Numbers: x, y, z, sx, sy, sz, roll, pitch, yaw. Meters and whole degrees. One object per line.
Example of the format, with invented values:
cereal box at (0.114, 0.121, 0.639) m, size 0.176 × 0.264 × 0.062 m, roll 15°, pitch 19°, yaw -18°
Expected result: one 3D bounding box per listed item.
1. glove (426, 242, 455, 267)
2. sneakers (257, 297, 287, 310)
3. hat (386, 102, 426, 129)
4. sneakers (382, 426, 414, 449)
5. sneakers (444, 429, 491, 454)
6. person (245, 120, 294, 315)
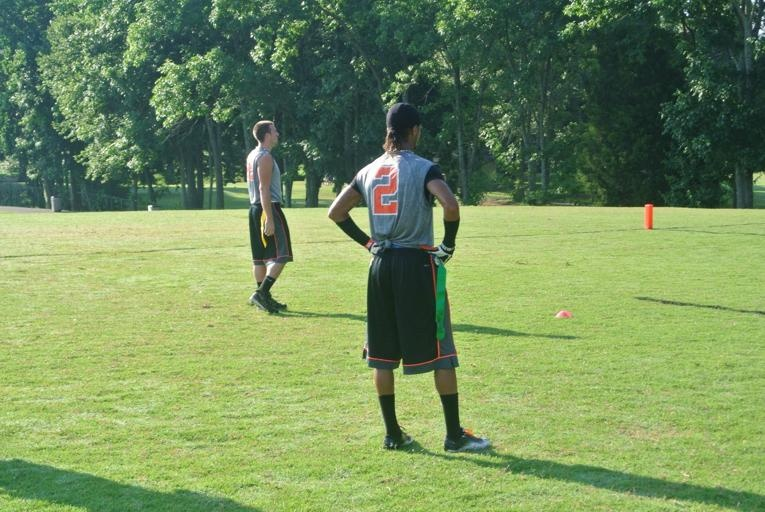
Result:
glove at (0.772, 0.006, 12.863) m, size 0.230 × 0.212 × 0.357 m, roll 5°, pitch -23°, yaw -1°
sneakers at (-1.869, 0.827, 16.745) m, size 0.411 × 0.248 × 0.127 m, roll 3°, pitch 35°, yaw -20°
hat at (0.307, -1.896, 12.886) m, size 0.325 × 0.350 × 0.417 m, roll 6°, pitch 16°, yaw 24°
sneakers at (0.218, 2.411, 12.748) m, size 0.447 × 0.269 × 0.197 m, roll -3°, pitch 4°, yaw -30°
sneakers at (1.115, 2.453, 12.700) m, size 0.597 × 0.241 × 0.268 m, roll -2°, pitch -4°, yaw -10°
person at (-2.036, -0.726, 17.064) m, size 0.760 × 3.391 × 1.213 m, roll -1°, pitch 1°, yaw -6°
